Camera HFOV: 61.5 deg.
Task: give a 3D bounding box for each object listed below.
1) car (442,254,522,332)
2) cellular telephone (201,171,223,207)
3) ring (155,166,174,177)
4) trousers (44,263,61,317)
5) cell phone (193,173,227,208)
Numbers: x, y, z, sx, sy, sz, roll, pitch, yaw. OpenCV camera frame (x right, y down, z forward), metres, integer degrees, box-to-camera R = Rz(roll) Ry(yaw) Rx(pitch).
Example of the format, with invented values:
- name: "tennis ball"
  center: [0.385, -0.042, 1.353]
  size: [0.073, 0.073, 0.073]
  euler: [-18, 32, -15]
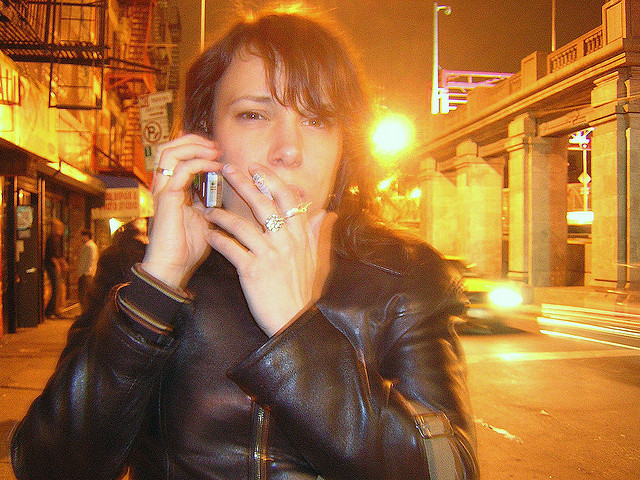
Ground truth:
- name: "car"
  center: [4.052, 1.352, 13.288]
  size: [1.282, 1.480, 2.237]
  euler: [1, 3, 20]
- name: "cellular telephone"
  center: [-0.550, -0.261, 2.785]
  size: [0.101, 0.178, 0.088]
  euler: [-1, 3, -16]
- name: "ring"
  center: [-0.780, -0.347, 2.705]
  size: [0.090, 0.047, 0.018]
  euler: [1, 3, 10]
- name: "trousers"
  center: [-7.030, 1.304, 14.217]
  size: [0.370, 1.463, 0.723]
  euler: [-1, 3, -28]
- name: "cell phone"
  center: [-0.556, -0.261, 2.778]
  size: [0.163, 0.182, 0.042]
  euler: [2, 9, 24]
